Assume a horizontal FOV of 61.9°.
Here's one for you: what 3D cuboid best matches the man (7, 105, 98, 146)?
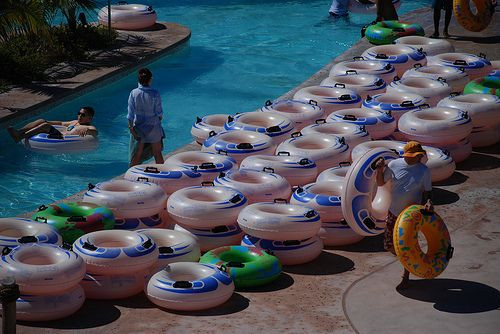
[{"bbox_3d":[-4.354,-0.906,9.266,1.816,0.481,1.461,-7,22,-29],"label":"man"}]

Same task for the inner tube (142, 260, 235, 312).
[{"bbox_3d":[-0.752,1.473,5.157,0.983,0.406,0.651,-13,25,-19],"label":"inner tube"}]

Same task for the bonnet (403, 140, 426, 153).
[{"bbox_3d":[2.047,-0.256,5.177,0.265,0.062,0.199,2,9,13],"label":"bonnet"}]

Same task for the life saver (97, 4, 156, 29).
[{"bbox_3d":[-4.456,-5.764,16.196,2.172,0.416,1.746,6,14,24],"label":"life saver"}]

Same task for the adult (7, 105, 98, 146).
[{"bbox_3d":[-4.348,-0.903,9.277,1.802,0.481,1.536,-5,19,-29],"label":"adult"}]
